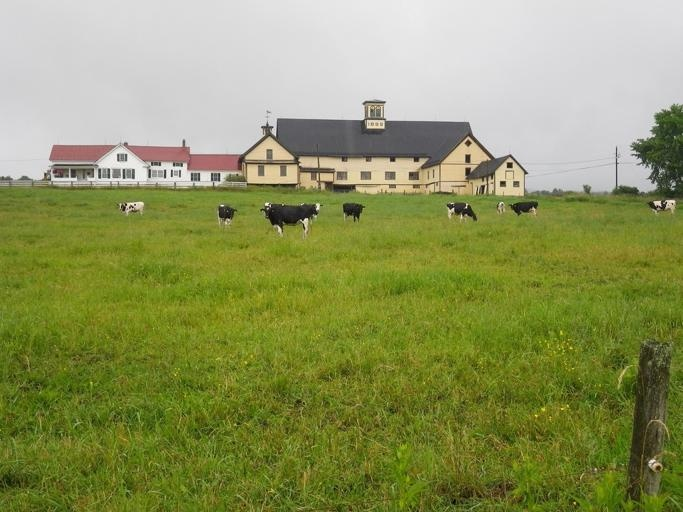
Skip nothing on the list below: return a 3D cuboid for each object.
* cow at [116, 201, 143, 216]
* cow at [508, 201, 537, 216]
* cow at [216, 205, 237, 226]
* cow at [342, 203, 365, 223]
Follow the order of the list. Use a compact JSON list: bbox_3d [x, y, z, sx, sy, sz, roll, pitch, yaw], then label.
[{"bbox_3d":[-11.636,-2.680,39.900,1.316,0.567,2.615,-5,14,-23],"label":"cow"},{"bbox_3d":[10.627,-2.781,41.667,1.372,0.852,3.040,2,13,12],"label":"cow"},{"bbox_3d":[-5.697,-2.034,35.453,0.605,1.183,1.959,-2,4,-24],"label":"cow"},{"bbox_3d":[0.729,-2.345,37.610,0.553,1.027,1.710,-3,4,-27],"label":"cow"}]
